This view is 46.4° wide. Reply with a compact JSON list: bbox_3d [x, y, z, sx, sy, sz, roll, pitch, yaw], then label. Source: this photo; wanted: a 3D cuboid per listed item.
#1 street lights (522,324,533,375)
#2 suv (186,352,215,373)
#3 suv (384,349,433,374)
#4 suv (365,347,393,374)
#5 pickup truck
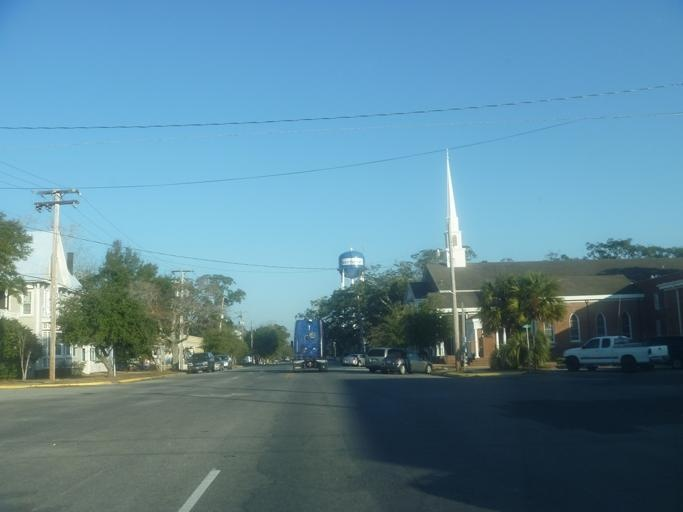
[{"bbox_3d":[10.925,5.518,46.605,0.415,2.012,0.701,-4,-8,14],"label":"street lights"},{"bbox_3d":[-10.969,8.312,62.439,1.839,1.568,2.211,-2,-10,-4],"label":"suv"},{"bbox_3d":[4.049,6.596,49.702,2.790,1.437,1.432,2,-10,-26],"label":"suv"},{"bbox_3d":[2.265,6.869,52.247,1.106,1.093,1.972,0,1,21],"label":"suv"},{"bbox_3d":[13.616,4.877,39.866,0.631,1.740,5.333,4,-12,-38],"label":"pickup truck"}]
